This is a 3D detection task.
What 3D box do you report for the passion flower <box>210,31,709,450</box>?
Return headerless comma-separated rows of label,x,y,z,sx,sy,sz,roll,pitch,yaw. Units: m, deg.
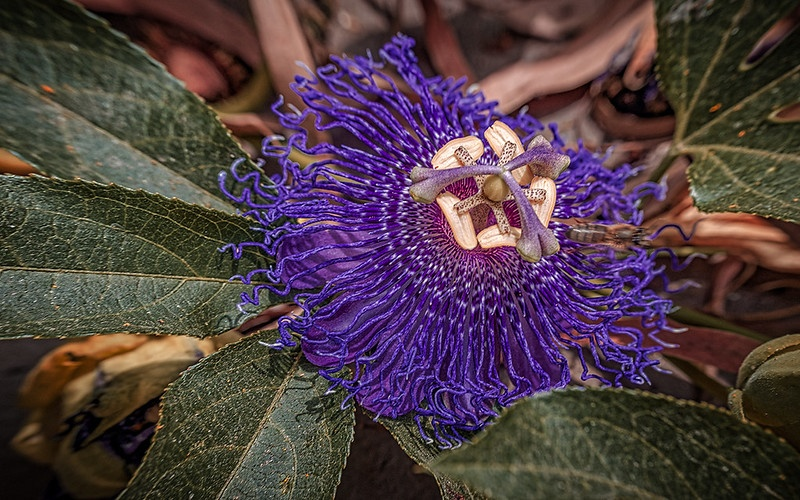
passion flower,0.106,-0.036,1.261,0.805,0.683,0.498,34,-57,-15
